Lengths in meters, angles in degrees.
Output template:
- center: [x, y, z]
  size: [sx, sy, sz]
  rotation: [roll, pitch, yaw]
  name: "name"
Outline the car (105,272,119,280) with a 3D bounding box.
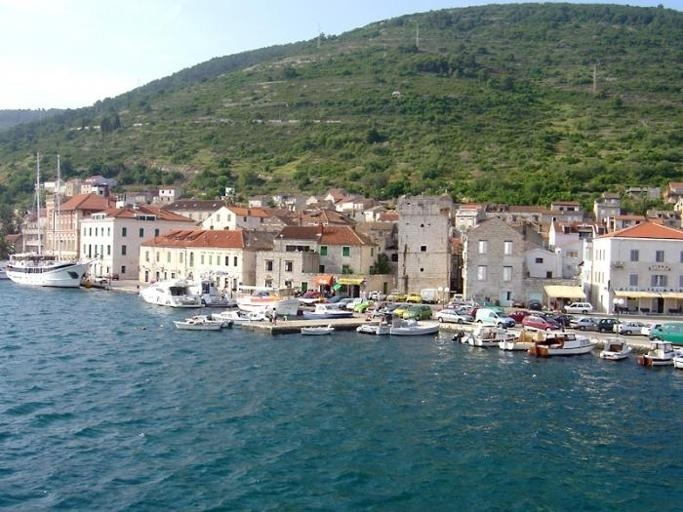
- center: [-36.387, 3.398, 139.362]
  size: [1.119, 0.588, 2.254]
  rotation: [-2, 7, -34]
  name: "car"
